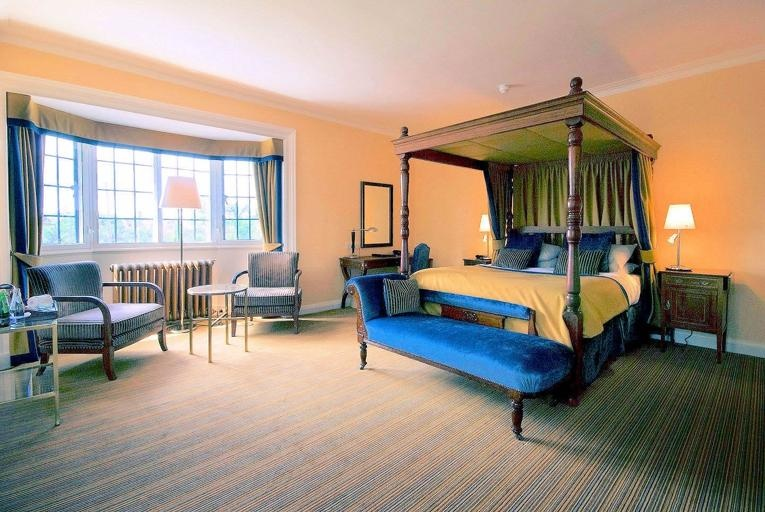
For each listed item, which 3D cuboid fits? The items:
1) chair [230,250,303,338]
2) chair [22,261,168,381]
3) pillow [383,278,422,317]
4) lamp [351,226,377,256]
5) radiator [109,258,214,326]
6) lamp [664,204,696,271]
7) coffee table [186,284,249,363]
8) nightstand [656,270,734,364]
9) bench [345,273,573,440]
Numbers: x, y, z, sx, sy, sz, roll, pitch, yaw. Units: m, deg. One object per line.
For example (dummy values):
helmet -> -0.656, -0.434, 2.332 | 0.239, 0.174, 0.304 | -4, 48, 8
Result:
chair -> -1.648, 0.481, 7.405 | 1.065, 1.101, 1.052 | -2, 3, -22
chair -> -3.407, 0.704, 6.218 | 1.160, 1.132, 1.395 | 3, 4, 10
pillow -> 0.180, 0.423, 6.286 | 0.527, 0.143, 0.509 | 7, 44, -7
lamp -> -0.367, -0.265, 9.002 | 0.254, 0.473, 0.563 | 2, 5, 38
radiator -> -3.127, 0.501, 7.107 | 1.075, 0.677, 0.146 | 1, -2, -37
lamp -> 3.855, -0.255, 6.630 | 0.320, 0.858, 0.543 | 2, 5, 30
coffee table -> -2.193, 0.922, 7.004 | 0.805, 0.813, 0.784 | -4, -2, -7
nightstand -> 3.912, 0.716, 6.483 | 0.787, 1.092, 0.442 | 1, 5, 30
bench -> 0.849, 0.971, 5.904 | 2.411, 1.074, 1.249 | 12, 10, 37
